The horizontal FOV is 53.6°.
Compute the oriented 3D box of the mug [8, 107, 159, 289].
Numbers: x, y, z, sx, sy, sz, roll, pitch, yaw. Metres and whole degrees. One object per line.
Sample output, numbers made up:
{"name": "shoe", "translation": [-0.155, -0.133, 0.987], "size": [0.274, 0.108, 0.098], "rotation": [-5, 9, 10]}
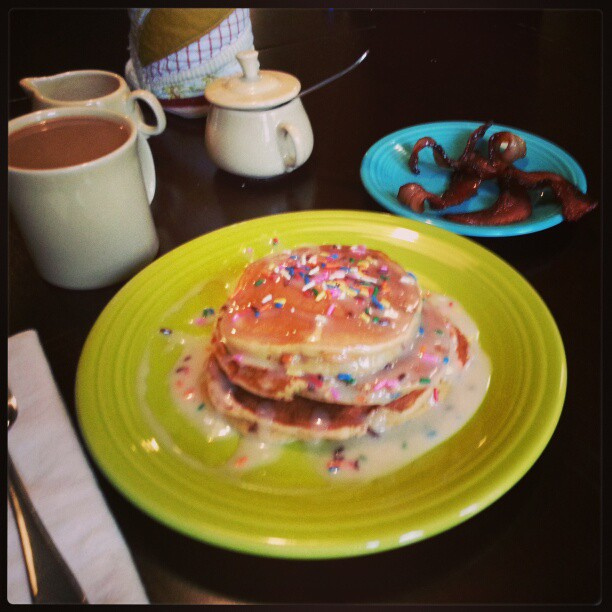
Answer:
{"name": "mug", "translation": [-0.395, -0.194, 1.225], "size": [0.300, 0.276, 0.274], "rotation": [-14, 51, -14]}

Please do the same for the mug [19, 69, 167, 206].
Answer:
{"name": "mug", "translation": [-0.502, -0.434, 1.504], "size": [0.297, 0.267, 0.261], "rotation": [-4, 30, 8]}

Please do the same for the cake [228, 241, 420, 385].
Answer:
{"name": "cake", "translation": [0.034, -0.002, 1.103], "size": [0.342, 0.106, 0.292], "rotation": [-4, 40, 1]}

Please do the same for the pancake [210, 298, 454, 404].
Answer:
{"name": "pancake", "translation": [0.037, 0.050, 1.227], "size": [0.443, 0.068, 0.473], "rotation": [-10, 19, -19]}

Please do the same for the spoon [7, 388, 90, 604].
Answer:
{"name": "spoon", "translation": [-0.397, 0.322, 0.908], "size": [0.067, 0.046, 0.425], "rotation": [-13, 51, -20]}

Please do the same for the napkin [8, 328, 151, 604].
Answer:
{"name": "napkin", "translation": [-0.343, 0.276, 0.971], "size": [0.207, 0.041, 0.616], "rotation": [-9, 64, -18]}
